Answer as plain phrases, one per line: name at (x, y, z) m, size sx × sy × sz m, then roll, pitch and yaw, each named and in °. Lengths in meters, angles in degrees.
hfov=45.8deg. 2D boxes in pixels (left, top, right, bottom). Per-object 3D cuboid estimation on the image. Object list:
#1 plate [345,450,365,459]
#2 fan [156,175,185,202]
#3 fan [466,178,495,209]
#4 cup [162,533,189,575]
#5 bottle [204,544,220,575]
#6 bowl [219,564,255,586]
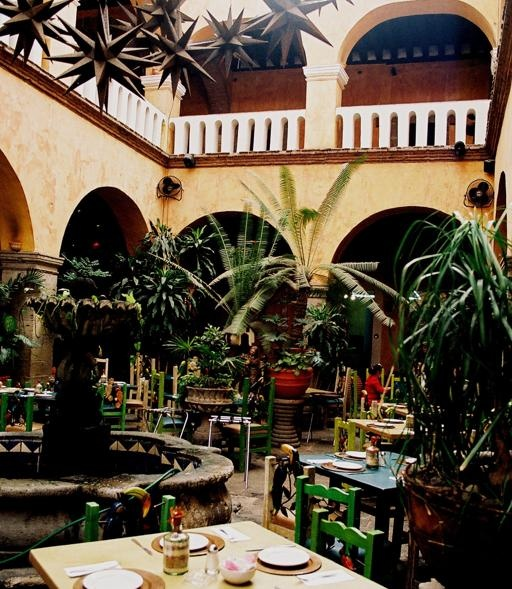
plate at (0.782, 1.254, 4.784) m, size 0.158 × 0.055 × 0.239 m, roll 5°, pitch -3°, yaw 6°
fan at (-1.743, -2.185, 12.395) m, size 0.538 × 0.496 × 0.274 m, roll 6°, pitch -4°, yaw -11°
fan at (3.910, -1.754, 10.633) m, size 0.489 × 0.577 × 0.310 m, roll 4°, pitch -4°, yaw 19°
cup at (-0.286, 0.913, 2.192) m, size 0.091 × 0.159 × 0.093 m, roll -1°, pitch 0°, yaw 0°
bottle at (-0.151, 0.936, 2.147) m, size 0.049 × 0.110 × 0.067 m, roll 6°, pitch -4°, yaw -3°
bowl at (-0.062, 0.975, 2.115) m, size 0.116 × 0.062 × 0.088 m, roll 6°, pitch -4°, yaw -1°
